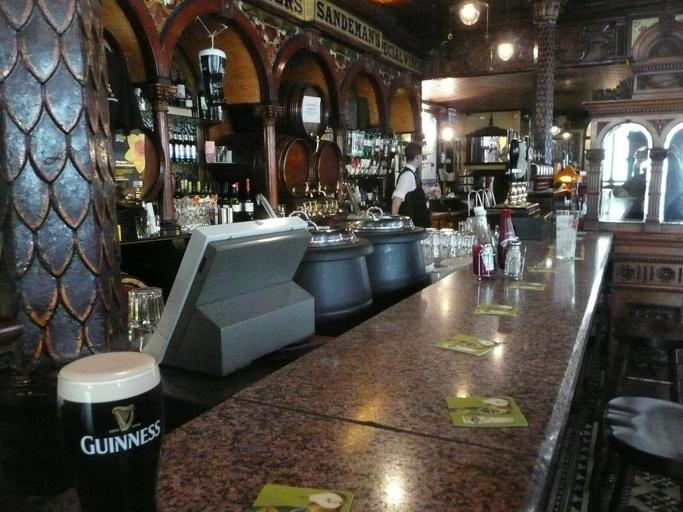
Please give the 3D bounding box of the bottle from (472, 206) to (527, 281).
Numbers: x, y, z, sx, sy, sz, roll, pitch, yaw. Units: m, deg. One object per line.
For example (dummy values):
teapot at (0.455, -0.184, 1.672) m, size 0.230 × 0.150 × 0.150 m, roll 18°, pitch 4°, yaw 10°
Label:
bottle at (0.823, -0.052, 2.722) m, size 0.232 × 0.412 × 0.388 m, roll -2°, pitch -2°, yaw 20°

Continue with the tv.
tv at (-0.331, 0.086, 1.717) m, size 0.306 × 0.436 × 0.453 m, roll 8°, pitch 12°, yaw 30°

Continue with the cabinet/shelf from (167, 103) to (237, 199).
cabinet/shelf at (-1.466, -1.002, 5.897) m, size 0.317 × 0.953 × 0.948 m, roll 2°, pitch 7°, yaw 20°

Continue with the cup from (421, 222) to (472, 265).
cup at (0.657, -0.063, 3.435) m, size 0.223 × 0.110 × 0.320 m, roll 3°, pitch 15°, yaw 16°

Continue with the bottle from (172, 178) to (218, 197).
bottle at (-1.543, -0.713, 5.740) m, size 0.283 × 0.199 × 0.583 m, roll 1°, pitch 10°, yaw 19°

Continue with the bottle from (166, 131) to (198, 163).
bottle at (-1.642, -1.145, 5.730) m, size 0.110 × 0.330 × 0.445 m, roll 0°, pitch 9°, yaw 15°

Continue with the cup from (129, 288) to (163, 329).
cup at (-0.648, 0.170, 1.883) m, size 0.128 × 0.146 × 0.140 m, roll -1°, pitch 3°, yaw 0°

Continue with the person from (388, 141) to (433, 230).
person at (0.794, -0.790, 6.316) m, size 0.417 × 1.015 × 0.844 m, roll -1°, pitch 9°, yaw 8°
